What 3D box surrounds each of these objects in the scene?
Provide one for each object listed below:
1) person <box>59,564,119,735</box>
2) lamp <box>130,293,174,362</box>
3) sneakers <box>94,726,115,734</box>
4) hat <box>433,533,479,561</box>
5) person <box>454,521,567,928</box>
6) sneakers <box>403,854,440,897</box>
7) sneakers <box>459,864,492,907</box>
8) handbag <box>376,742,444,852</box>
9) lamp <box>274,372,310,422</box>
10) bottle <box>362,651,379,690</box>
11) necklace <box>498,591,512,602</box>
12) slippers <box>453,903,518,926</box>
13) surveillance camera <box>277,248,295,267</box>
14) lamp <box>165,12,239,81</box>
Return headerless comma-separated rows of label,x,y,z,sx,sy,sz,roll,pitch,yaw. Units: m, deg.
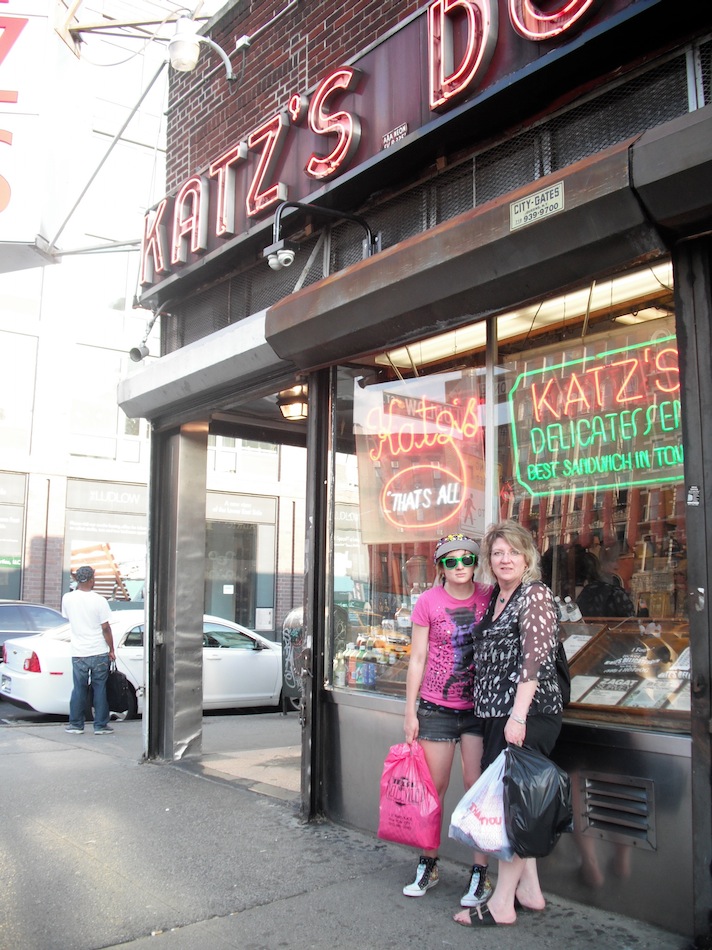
person,-2.931,1.906,8.302,0.531,1.775,0.382,2,-7,-19
lamp,-1.903,-1.307,7.039,0.310,0.640,0.819,1,-7,-15
sneakers,-2.729,2.756,8.211,0.211,0.079,0.254,3,-7,-28
hat,0.433,0.314,3.366,0.129,0.067,0.160,-6,-6,-1
person,0.625,0.958,2.957,0.388,1.555,0.534,3,-7,-26
sneakers,0.284,1.754,3.303,0.084,0.152,0.243,-13,-22,30
sneakers,0.488,1.653,3.053,0.085,0.158,0.221,-8,-18,30
handbag,0.220,1.376,3.195,0.260,0.474,0.241,-1,-7,4
lamp,-0.561,-0.660,6.941,0.317,0.477,0.320,-9,9,-38
bottle,0.087,1.223,4.680,0.068,0.181,0.189,2,-7,-20
necklace,0.610,0.502,3.117,0.011,0.041,0.044,14,-11,-37
slippers,0.482,1.669,2.882,0.191,0.058,0.095,1,-5,3
surveillance camera,-0.454,-1.403,4.845,0.098,0.127,0.140,1,-7,-14
lamp,-1.297,-3.498,6.239,0.554,0.549,0.298,-3,3,13
